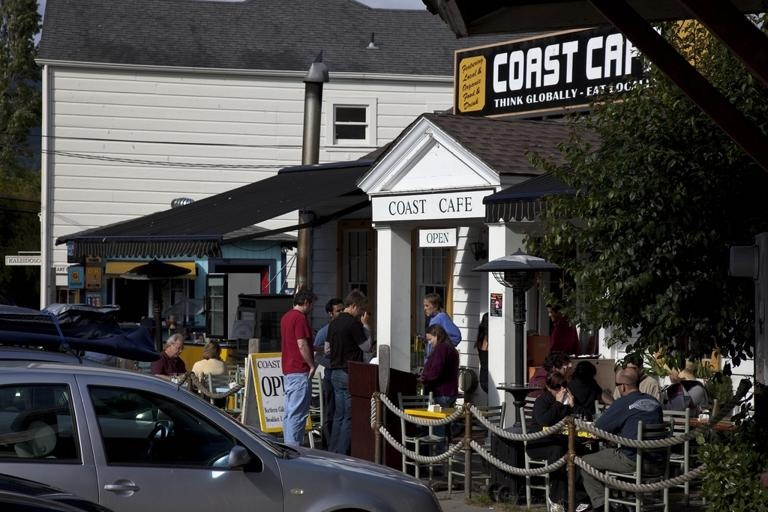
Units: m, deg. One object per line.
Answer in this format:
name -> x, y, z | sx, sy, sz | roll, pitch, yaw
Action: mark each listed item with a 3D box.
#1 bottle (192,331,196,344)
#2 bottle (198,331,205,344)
bottle -> -4.313, 1.877, 32.486 | 0.117, 0.228, 0.073 | 1, -6, -12
bottle -> -4.028, 1.848, 31.805 | 0.162, 0.283, 0.299 | 0, 2, -13
